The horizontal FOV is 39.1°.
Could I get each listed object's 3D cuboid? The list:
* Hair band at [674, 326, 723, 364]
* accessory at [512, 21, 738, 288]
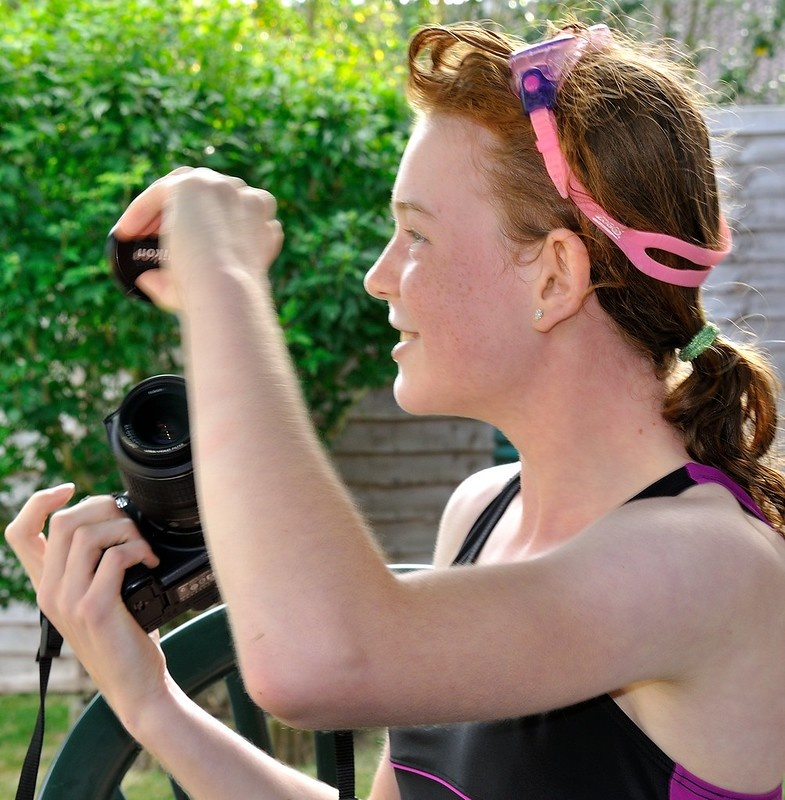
[{"bbox_3d":[0.445,-0.080,1.609,0.062,0.053,0.015,-28,82,-46],"label":"Hair band"},{"bbox_3d":[0.269,-0.298,1.612,0.160,0.280,0.346,-26,73,8],"label":"accessory"}]
